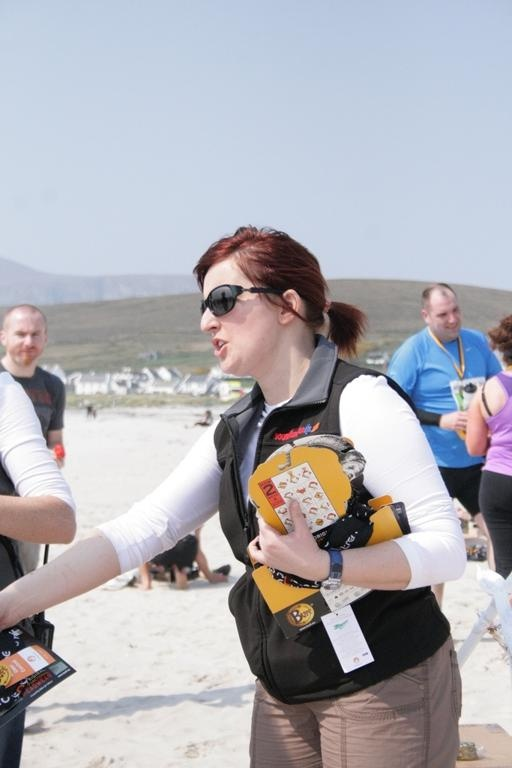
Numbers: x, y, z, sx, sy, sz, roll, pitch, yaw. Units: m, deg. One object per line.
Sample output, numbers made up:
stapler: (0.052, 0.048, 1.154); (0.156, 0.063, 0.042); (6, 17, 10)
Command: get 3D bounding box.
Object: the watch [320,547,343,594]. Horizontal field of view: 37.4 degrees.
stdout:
watch: (0.137, 0.323, 1.313); (0.046, 0.065, 0.073); (3, 7, 4)
